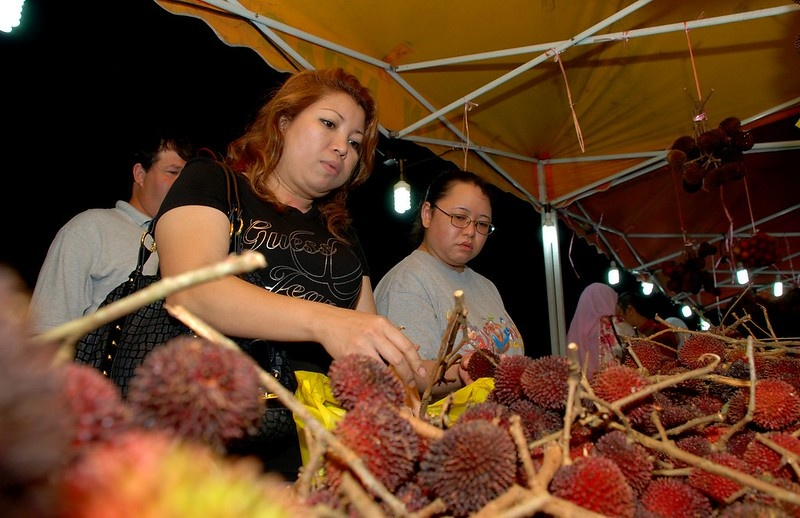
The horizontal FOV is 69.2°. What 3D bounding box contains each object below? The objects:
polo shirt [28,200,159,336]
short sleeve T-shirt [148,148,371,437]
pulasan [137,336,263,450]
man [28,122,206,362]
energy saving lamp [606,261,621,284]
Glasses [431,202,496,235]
[{"bbox_3d":[-1.081,0.026,2.025,0.166,0.370,0.392,15,-23,25],"label":"polo shirt"},{"bbox_3d":[-0.330,0.061,1.384,0.309,0.593,0.544,-27,40,15],"label":"short sleeve T-shirt"},{"bbox_3d":[-0.298,0.196,0.860,0.179,0.146,0.093,23,-17,-16],"label":"pulasan"},{"bbox_3d":[-1.014,-0.088,2.002,0.259,0.406,0.909,4,35,17],"label":"man"},{"bbox_3d":[3.023,0.197,8.197,0.132,0.131,0.334,-4,18,16],"label":"energy saving lamp"},{"bbox_3d":[0.323,-0.223,2.773,0.186,0.053,0.181,15,4,-42],"label":"Glasses"}]
